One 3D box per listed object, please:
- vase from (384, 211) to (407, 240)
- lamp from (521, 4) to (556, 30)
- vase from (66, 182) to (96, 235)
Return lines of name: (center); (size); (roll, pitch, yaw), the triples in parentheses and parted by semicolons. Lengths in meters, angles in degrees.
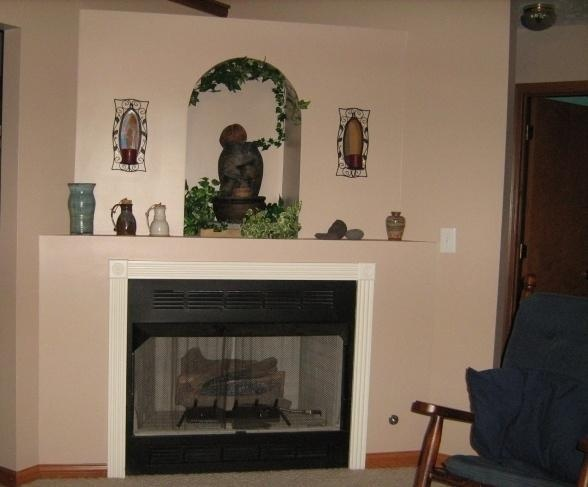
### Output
vase: (0.569, -0.102, 3.992); (0.130, 0.185, 0.134); (1, 1, 35)
lamp: (1.395, -1.291, 4.057); (0.150, 0.065, 0.153); (-20, 26, -29)
vase: (-1.134, -0.183, 3.801); (0.165, 0.280, 0.136); (2, 1, -36)
